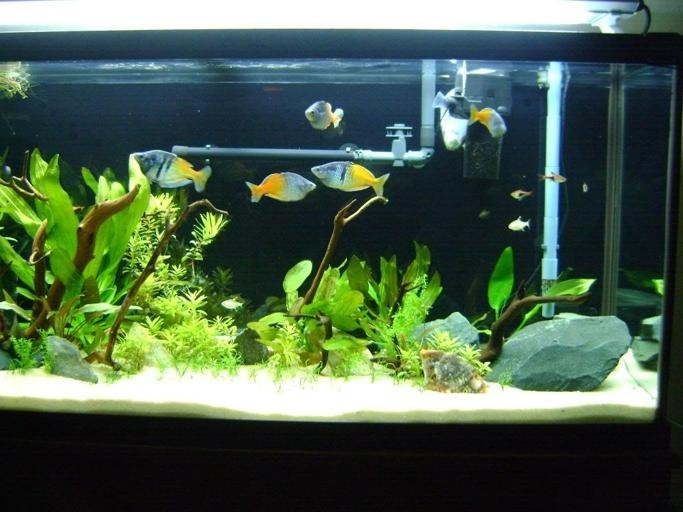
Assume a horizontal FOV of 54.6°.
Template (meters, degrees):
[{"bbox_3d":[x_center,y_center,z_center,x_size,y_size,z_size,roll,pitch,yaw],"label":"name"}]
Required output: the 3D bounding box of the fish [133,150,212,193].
[{"bbox_3d":[-0.780,-0.391,3.026,0.375,0.189,0.049,1,19,12],"label":"fish"}]

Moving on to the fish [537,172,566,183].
[{"bbox_3d":[0.956,-0.354,2.990,0.134,0.068,0.042,9,1,23],"label":"fish"}]

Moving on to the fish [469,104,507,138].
[{"bbox_3d":[0.641,-0.605,2.938,0.206,0.111,0.040,27,9,-10],"label":"fish"}]

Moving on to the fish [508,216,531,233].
[{"bbox_3d":[0.811,-0.145,3.026,0.107,0.063,0.018,-8,19,-16],"label":"fish"}]

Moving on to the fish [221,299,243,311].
[{"bbox_3d":[-0.511,0.222,3.073,0.104,0.055,0.028,0,18,8],"label":"fish"}]
